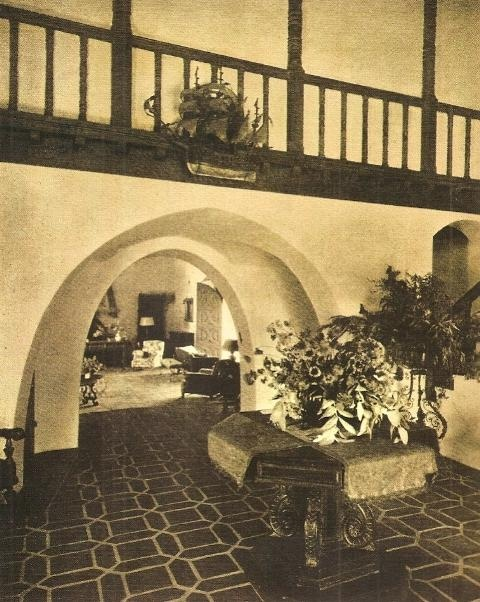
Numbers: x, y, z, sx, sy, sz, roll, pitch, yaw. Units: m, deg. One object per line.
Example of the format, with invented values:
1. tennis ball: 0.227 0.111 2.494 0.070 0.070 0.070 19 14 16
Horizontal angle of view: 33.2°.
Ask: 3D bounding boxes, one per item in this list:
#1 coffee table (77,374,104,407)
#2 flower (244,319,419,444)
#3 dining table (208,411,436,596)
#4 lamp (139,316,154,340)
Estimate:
1. coffee table: -2.242 1.330 11.990 0.451 0.463 0.457 -1 3 -9
2. flower: 0.810 0.791 6.321 1.124 0.826 1.123 -5 25 -9
3. dining table: 0.619 1.425 6.094 1.269 0.828 1.484 -3 4 -28
4. lamp: -2.215 0.651 19.205 0.373 0.613 0.769 -1 9 -7
